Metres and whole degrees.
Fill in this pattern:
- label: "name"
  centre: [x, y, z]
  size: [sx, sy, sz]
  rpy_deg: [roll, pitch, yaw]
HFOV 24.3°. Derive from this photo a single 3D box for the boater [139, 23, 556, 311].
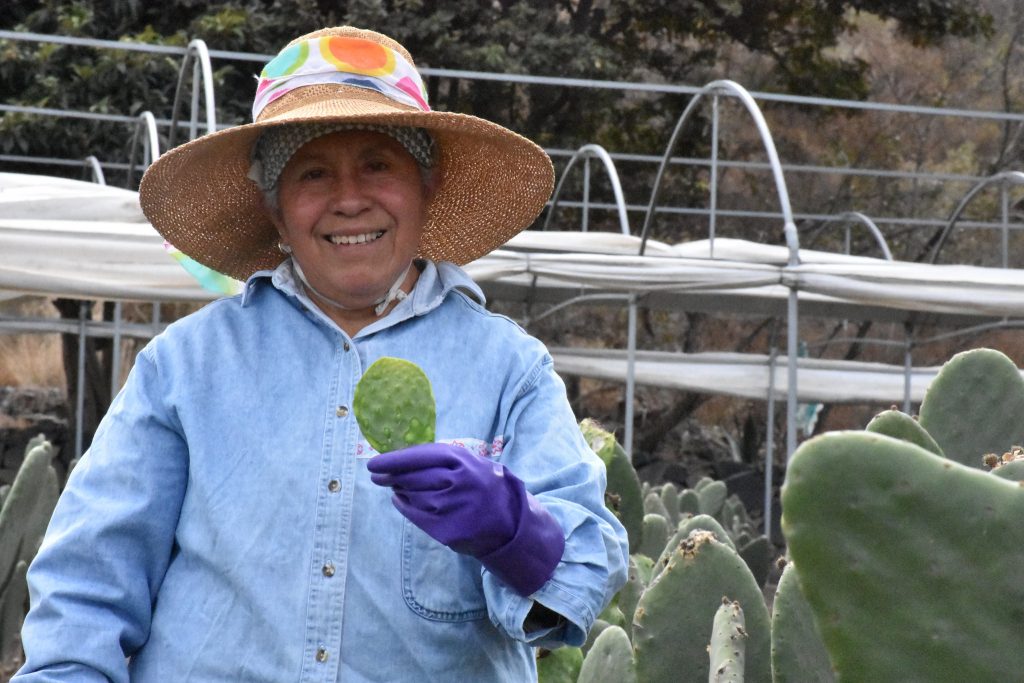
- label: "boater"
  centre: [-1.439, -1.540, 20.357]
  size: [2.471, 1.299, 2.562]
  rpy_deg: [-17, -28, 22]
